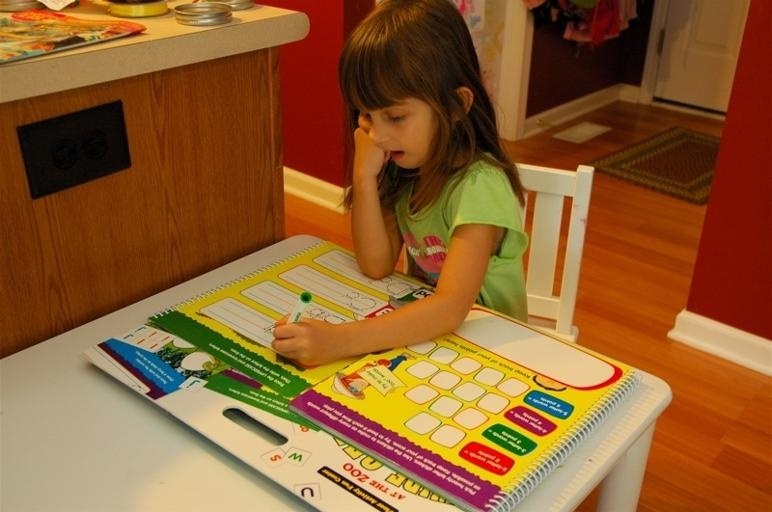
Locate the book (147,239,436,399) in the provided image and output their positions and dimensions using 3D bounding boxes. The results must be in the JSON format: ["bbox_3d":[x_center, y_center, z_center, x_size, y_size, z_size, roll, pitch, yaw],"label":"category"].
[{"bbox_3d":[-0.157,0.111,1.093,0.523,0.037,0.533,0,25,2],"label":"book"}]

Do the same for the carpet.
[{"bbox_3d":[1.748,-0.593,3.649,0.625,0.006,0.703,26,47,35],"label":"carpet"}]
